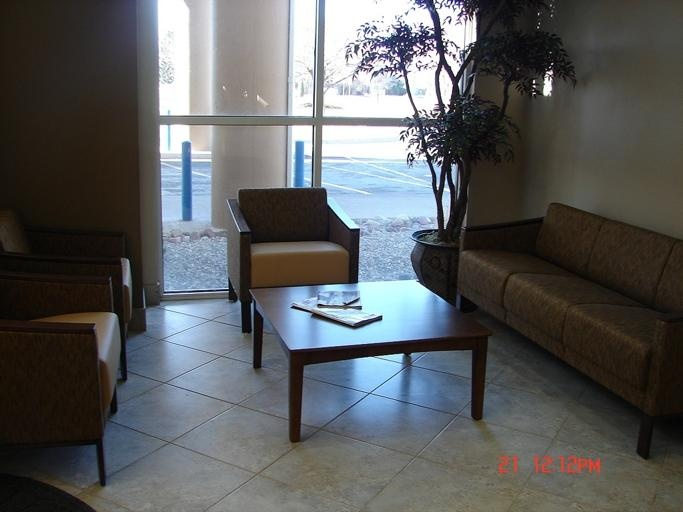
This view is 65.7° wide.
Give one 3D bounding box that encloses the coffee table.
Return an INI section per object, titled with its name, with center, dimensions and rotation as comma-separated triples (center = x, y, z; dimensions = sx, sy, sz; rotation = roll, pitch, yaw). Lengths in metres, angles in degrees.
[coffee table]
center = 0.137, 0.587, 3.354
dimensions = 1.347, 0.620, 0.997
rotation = -5, 16, -13

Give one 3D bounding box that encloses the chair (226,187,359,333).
[chair]
center = -0.401, -0.056, 4.738
dimensions = 1.143, 1.323, 1.214
rotation = -2, 9, -19
